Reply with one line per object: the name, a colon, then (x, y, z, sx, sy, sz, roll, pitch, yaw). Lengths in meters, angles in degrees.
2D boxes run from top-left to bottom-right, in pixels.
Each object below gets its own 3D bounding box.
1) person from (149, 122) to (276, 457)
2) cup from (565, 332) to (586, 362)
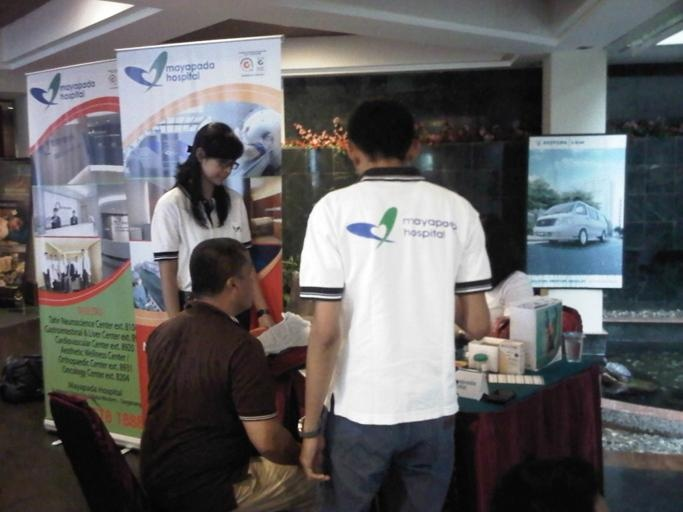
person: (-0.807, 0.224, 3.796, 0.743, 2.046, 0.547, -1, 11, -11)
cup: (1.317, 0.512, 3.389, 0.170, 0.181, 0.136, 0, -3, 11)
